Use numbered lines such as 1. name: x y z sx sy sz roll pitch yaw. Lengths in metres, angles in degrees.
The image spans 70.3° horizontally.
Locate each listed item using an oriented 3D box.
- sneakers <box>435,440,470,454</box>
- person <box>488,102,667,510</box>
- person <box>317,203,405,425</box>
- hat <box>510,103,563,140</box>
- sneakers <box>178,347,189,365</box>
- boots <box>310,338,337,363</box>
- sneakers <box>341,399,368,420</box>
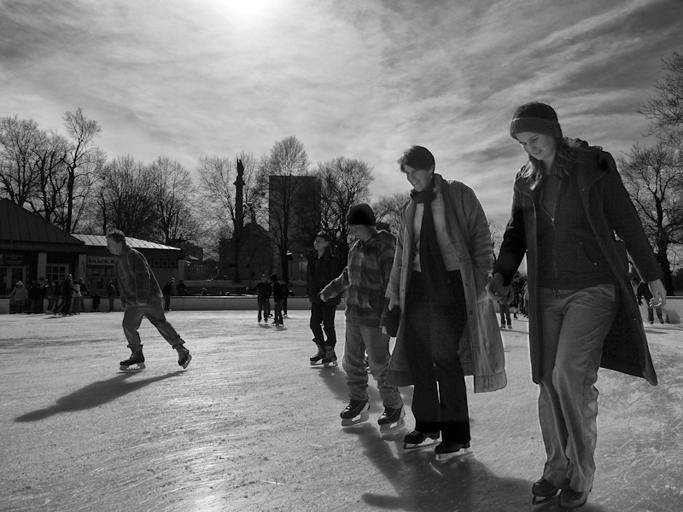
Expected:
1. sneakers: 0.858 1.468 3.743 0.295 0.127 0.101 6 -11 -28
2. person: 1.467 0.251 3.083 0.921 2.723 0.522 -4 -1 2
3. person: 0.240 0.608 4.978 0.756 2.260 0.648 -3 -4 31
4. hat: 1.276 -0.880 3.169 0.297 0.249 0.314 10 0 24
5. sneakers: -2.618 1.654 7.974 0.174 0.247 0.263 -4 -2 -19
6. boots: -0.367 1.720 8.850 0.361 0.452 0.449 4 -12 -15
7. sneakers: 0.110 1.513 4.791 0.121 0.152 0.342 -13 -19 32
